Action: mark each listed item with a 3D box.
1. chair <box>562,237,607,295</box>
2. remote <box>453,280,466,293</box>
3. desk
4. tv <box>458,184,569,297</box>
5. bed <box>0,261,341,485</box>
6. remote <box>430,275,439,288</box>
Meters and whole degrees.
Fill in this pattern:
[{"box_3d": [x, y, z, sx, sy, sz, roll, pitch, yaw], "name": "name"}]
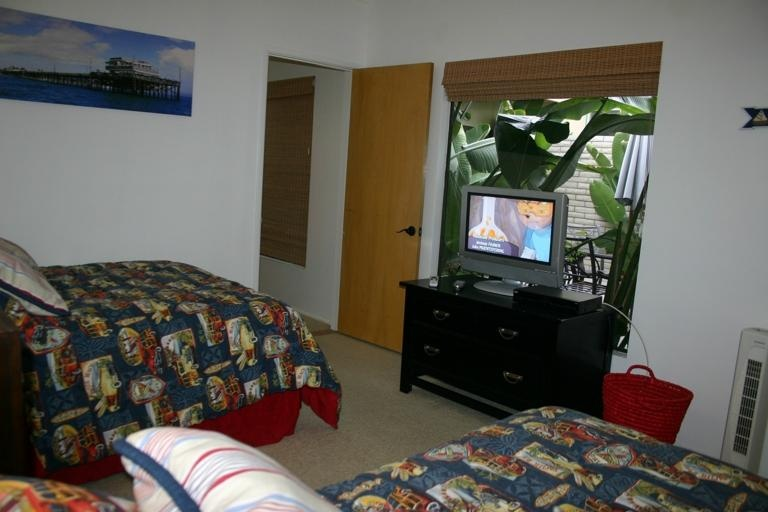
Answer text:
[{"box_3d": [1.565, 0.070, 4.054, 0.337, 0.504, 0.366, 10, 16, 41], "name": "chair"}, {"box_3d": [0.584, 0.233, 4.040, 0.063, 0.027, 0.103, 7, 21, 19], "name": "remote"}, {"box_3d": [0.887, 0.772, 4.119, 0.827, 0.931, 1.444, -3, 9, -44], "name": "desk"}, {"box_3d": [0.969, -0.109, 3.890, 0.779, 0.696, 0.387, 9, 9, 40], "name": "tv"}, {"box_3d": [-1.303, 0.604, 3.241, 1.378, 0.578, 1.344, -3, 11, -37], "name": "bed"}, {"box_3d": [0.399, 0.199, 4.122, 0.073, 0.072, 0.135, 8, -10, 9], "name": "remote"}]
